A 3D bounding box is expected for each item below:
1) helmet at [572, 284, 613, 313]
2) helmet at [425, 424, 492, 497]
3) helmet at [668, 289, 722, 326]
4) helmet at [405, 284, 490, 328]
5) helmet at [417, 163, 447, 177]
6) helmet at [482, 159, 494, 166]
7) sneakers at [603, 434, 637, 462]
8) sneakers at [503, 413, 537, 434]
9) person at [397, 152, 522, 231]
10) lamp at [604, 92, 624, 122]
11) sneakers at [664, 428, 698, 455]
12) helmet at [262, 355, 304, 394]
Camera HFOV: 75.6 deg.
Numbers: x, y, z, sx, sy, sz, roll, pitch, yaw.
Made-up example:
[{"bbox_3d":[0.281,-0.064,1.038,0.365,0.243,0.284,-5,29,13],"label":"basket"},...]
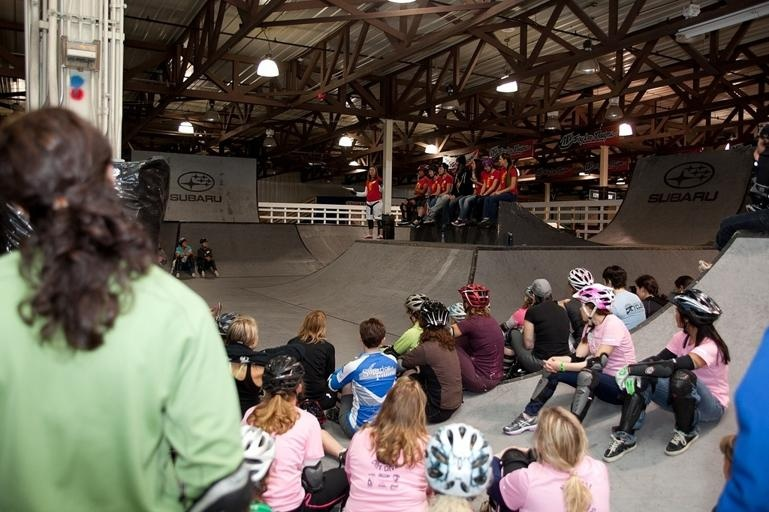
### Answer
[{"bbox_3d":[1.617,0.319,3.912,0.269,0.133,0.181,22,12,39],"label":"helmet"},{"bbox_3d":[0.315,0.929,2.227,0.282,0.325,0.173,2,10,3],"label":"helmet"},{"bbox_3d":[2.090,0.342,3.459,0.227,0.143,0.298,22,-3,-19],"label":"helmet"},{"bbox_3d":[0.746,0.455,4.736,0.441,0.207,0.615,9,10,27],"label":"helmet"},{"bbox_3d":[1.042,-1.988,11.221,0.548,0.268,0.404,-3,11,16],"label":"helmet"},{"bbox_3d":[1.971,-1.843,9.839,0.160,0.161,0.359,3,10,5],"label":"helmet"},{"bbox_3d":[1.624,1.341,3.508,0.343,0.135,0.119,2,4,-36],"label":"sneakers"},{"bbox_3d":[1.041,1.314,3.912,0.245,0.151,0.188,4,10,13],"label":"sneakers"},{"bbox_3d":[1.758,-1.201,9.835,1.614,1.122,1.739,4,-2,-29],"label":"person"},{"bbox_3d":[7.225,-4.731,15.838,0.500,0.806,1.665,6,11,23],"label":"lamp"},{"bbox_3d":[2.041,1.316,3.522,0.321,0.117,0.106,1,-4,-32],"label":"sneakers"},{"bbox_3d":[-0.580,0.674,2.930,0.185,0.207,0.226,5,11,20],"label":"helmet"}]
